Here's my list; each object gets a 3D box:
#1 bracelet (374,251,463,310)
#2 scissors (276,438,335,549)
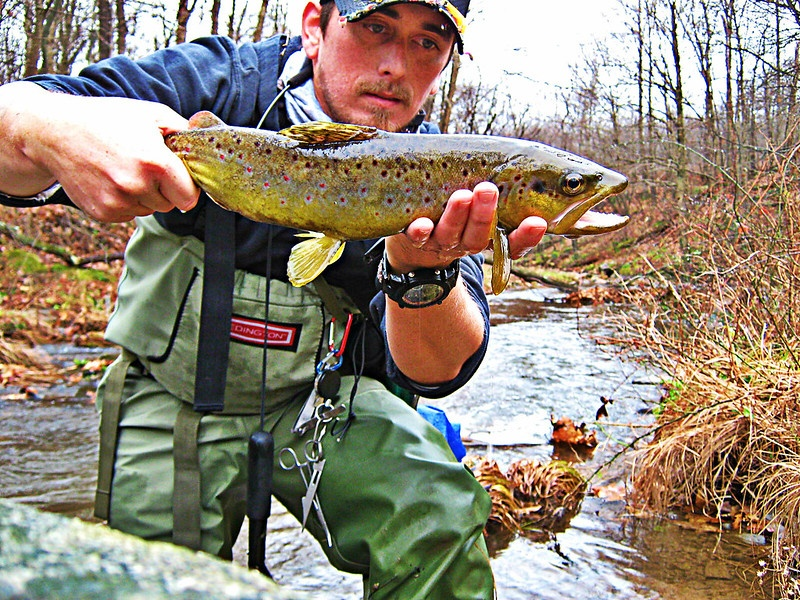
[{"bbox_3d":[0.110,-0.076,4.265,0.325,0.151,0.372,-1,26,-11],"label":"bracelet"},{"bbox_3d":[-0.587,1.126,4.457,0.475,0.499,0.178,10,3,40],"label":"scissors"}]
